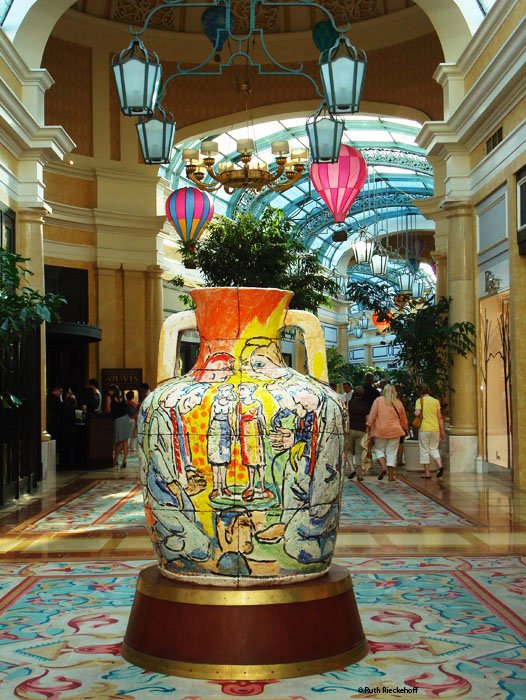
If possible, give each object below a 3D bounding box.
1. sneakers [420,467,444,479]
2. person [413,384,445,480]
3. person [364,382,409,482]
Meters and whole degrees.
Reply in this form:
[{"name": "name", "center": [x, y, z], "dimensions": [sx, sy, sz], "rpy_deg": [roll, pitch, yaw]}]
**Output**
[{"name": "sneakers", "center": [2.589, 1.872, 9.198], "dimensions": [0.201, 0.226, 0.582], "rpy_deg": [0, -14, 3]}, {"name": "person", "center": [2.466, 1.244, 8.955], "dimensions": [0.535, 1.348, 0.506], "rpy_deg": [10, 11, 16]}, {"name": "person", "center": [1.785, 1.217, 8.908], "dimensions": [0.585, 1.519, 0.541], "rpy_deg": [10, 11, 17]}]
